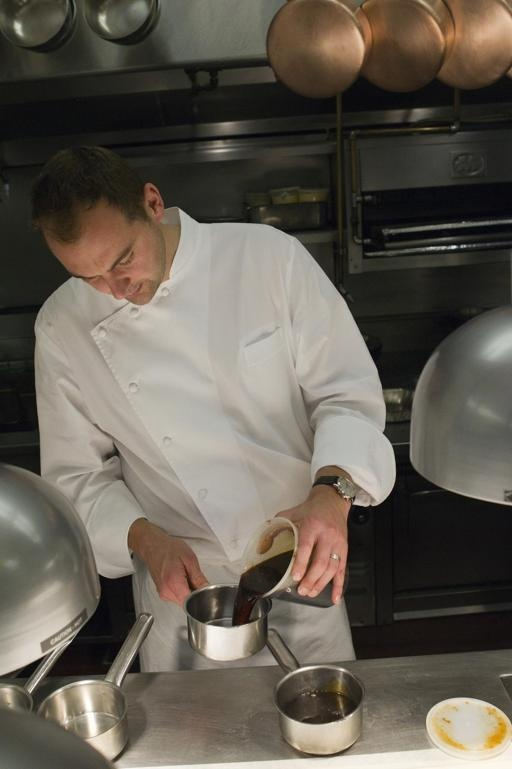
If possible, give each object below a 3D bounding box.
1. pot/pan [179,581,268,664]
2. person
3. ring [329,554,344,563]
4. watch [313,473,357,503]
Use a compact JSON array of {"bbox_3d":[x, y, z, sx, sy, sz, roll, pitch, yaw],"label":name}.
[{"bbox_3d":[-0.038,0.343,1.043,0.134,0.074,0.128,0,-2,-11],"label":"pot/pan"},{"bbox_3d":[-0.071,0.112,1.435,0.738,1.158,0.581,-1,35,11],"label":"person"},{"bbox_3d":[0.111,0.240,0.992,0.013,0.011,0.012,6,-12,5],"label":"ring"},{"bbox_3d":[0.129,0.164,1.186,0.052,0.052,0.052,28,-21,-27],"label":"watch"}]
